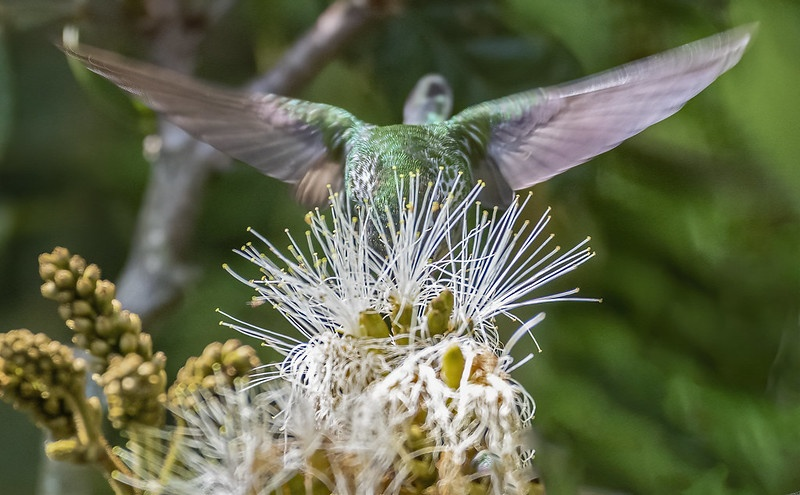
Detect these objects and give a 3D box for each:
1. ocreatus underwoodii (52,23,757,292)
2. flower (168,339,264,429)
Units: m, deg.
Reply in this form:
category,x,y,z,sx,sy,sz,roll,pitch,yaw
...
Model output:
category,x,y,z,sx,sy,sz,roll,pitch,yaw
ocreatus underwoodii,0.008,-0.138,1.450,0.845,0.173,0.230,1,-40,1
flower,-0.230,0.152,1.436,0.123,0.061,0.077,-33,-29,-1
